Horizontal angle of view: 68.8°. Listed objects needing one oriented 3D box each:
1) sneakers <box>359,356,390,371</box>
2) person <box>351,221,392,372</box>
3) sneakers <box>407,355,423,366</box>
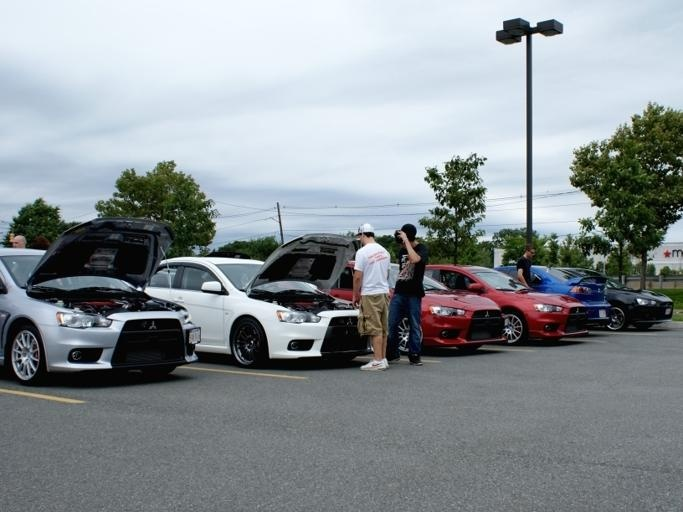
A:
[{"bbox_3d":[0.588,1.912,8.839,0.524,0.169,0.182,0,-6,-6],"label":"sneakers"},{"bbox_3d":[0.559,0.863,9.047,0.664,2.242,0.547,0,-3,0],"label":"person"},{"bbox_3d":[1.428,1.925,9.468,0.257,0.193,0.326,0,-3,6],"label":"sneakers"}]
